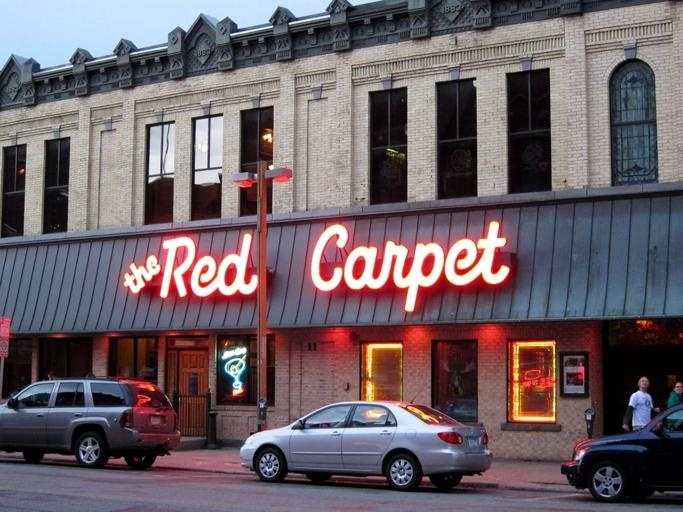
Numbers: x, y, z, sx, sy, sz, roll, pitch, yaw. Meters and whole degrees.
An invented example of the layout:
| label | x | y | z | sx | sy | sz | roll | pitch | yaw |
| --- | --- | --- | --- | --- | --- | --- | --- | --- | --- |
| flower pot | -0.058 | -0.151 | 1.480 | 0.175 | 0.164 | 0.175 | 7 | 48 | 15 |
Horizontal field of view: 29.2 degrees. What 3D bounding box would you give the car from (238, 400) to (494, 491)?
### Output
| label | x | y | z | sx | sy | sz | roll | pitch | yaw |
| --- | --- | --- | --- | --- | --- | --- | --- | --- | --- |
| car | 0.658 | 4.767 | 33.244 | 5.732 | 1.644 | 2.336 | -2 | -10 | 21 |
